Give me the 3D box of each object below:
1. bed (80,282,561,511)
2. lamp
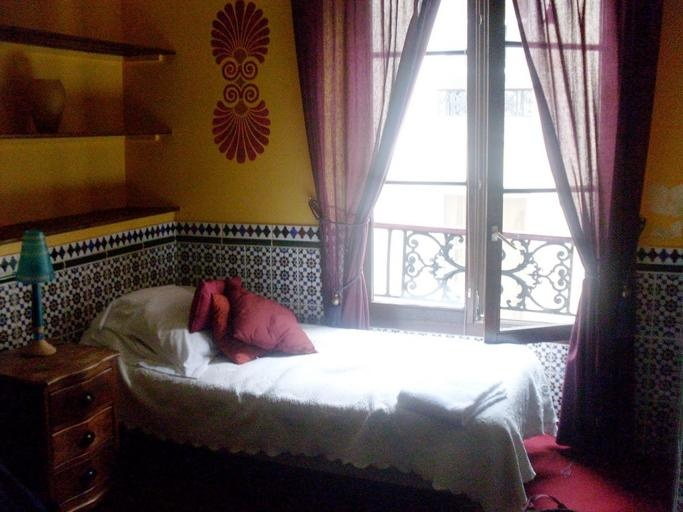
[{"bbox_3d":[-0.100,0.790,3.489,2.267,0.823,1.389,3,13,17],"label":"bed"},{"bbox_3d":[-1.726,0.193,3.284,0.178,0.695,0.331,-1,5,-29],"label":"lamp"}]
